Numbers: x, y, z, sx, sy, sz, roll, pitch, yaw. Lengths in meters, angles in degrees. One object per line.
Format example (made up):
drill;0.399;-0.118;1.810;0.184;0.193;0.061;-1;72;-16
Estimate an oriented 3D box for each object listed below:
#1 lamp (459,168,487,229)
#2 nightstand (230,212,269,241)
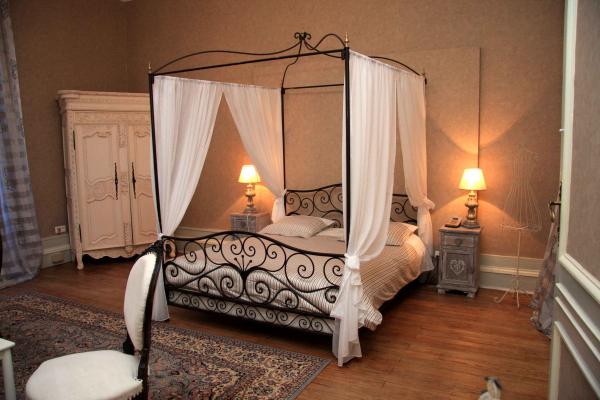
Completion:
lamp;2.297;-0.037;5.797;0.328;0.774;0.384;5;11;24
nightstand;-0.797;0.348;6.916;0.531;0.582;0.413;4;5;30
